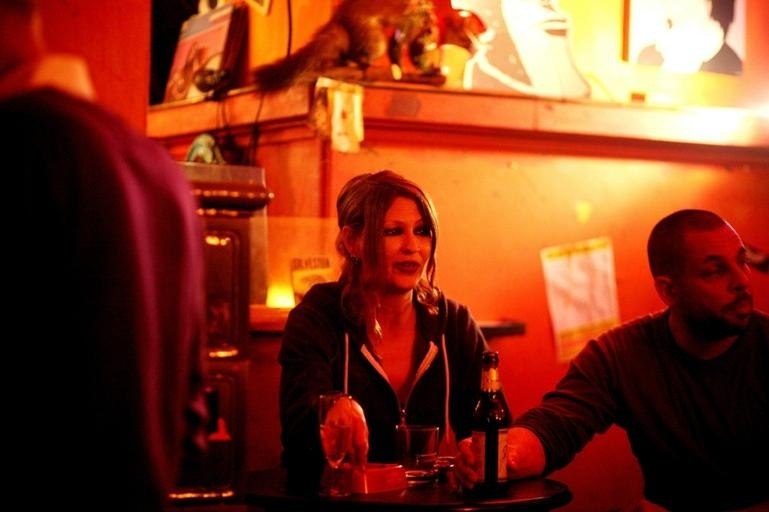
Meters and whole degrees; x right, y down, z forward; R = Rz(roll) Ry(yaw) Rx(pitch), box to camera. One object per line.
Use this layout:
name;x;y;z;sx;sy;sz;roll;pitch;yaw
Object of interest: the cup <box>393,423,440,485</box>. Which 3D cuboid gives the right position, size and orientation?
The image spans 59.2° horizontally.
cup;0.109;0.653;2.232;0.146;0.173;0.166;1;2;4
